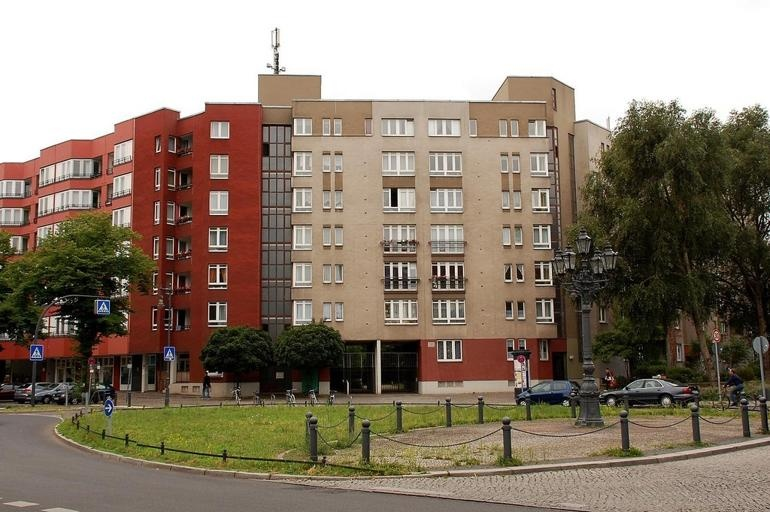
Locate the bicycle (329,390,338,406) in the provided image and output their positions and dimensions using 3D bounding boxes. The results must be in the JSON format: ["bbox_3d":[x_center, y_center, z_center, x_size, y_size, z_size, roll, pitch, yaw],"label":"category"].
[{"bbox_3d":[-4.212,10.965,66.100,0.983,1.138,1.988,1,-18,-1],"label":"bicycle"}]

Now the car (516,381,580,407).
[{"bbox_3d":[11.009,9.211,57.313,3.870,1.774,2.232,2,-7,6],"label":"car"}]

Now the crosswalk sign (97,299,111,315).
[{"bbox_3d":[-21.230,3.836,64.313,1.407,1.386,1.338,1,-2,-14],"label":"crosswalk sign"}]
